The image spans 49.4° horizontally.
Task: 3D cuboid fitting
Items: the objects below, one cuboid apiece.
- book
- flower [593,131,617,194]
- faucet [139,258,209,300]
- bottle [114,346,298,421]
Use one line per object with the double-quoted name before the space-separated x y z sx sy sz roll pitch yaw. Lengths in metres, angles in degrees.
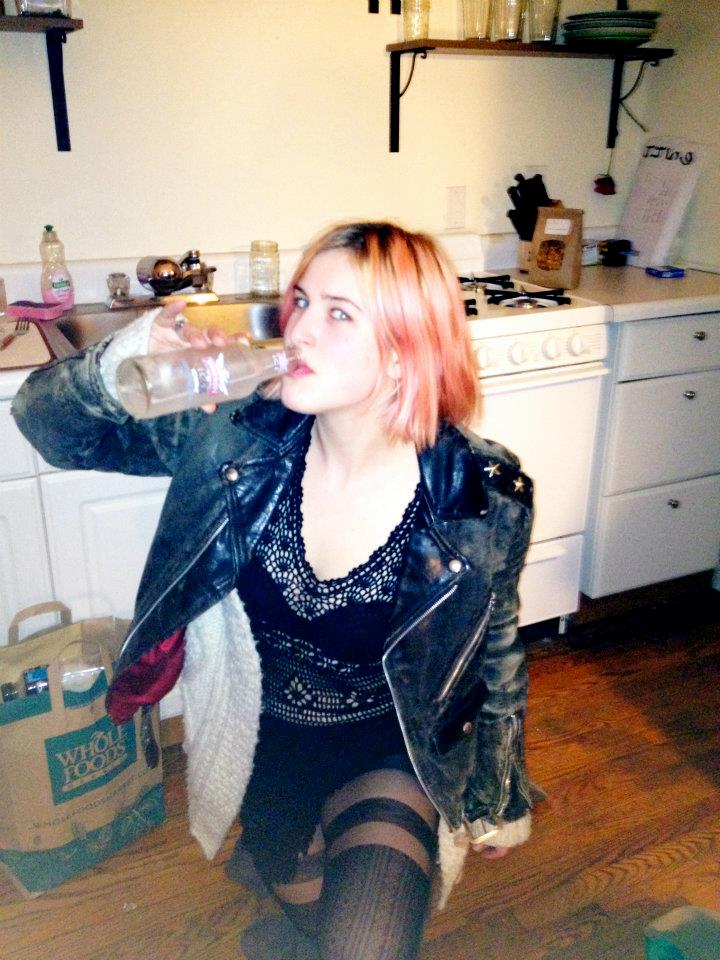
"book" 0.948 -0.904 2.555 0.128 0.377 0.306 -1 25 -8
"flower" 0.823 -1.040 2.592 0.058 0.186 0.119 19 30 32
"faucet" -0.456 -0.513 1.935 0.133 0.063 0.127 -7 23 -21
"bottle" -0.176 -0.115 0.873 0.176 0.092 0.116 -15 29 -34
